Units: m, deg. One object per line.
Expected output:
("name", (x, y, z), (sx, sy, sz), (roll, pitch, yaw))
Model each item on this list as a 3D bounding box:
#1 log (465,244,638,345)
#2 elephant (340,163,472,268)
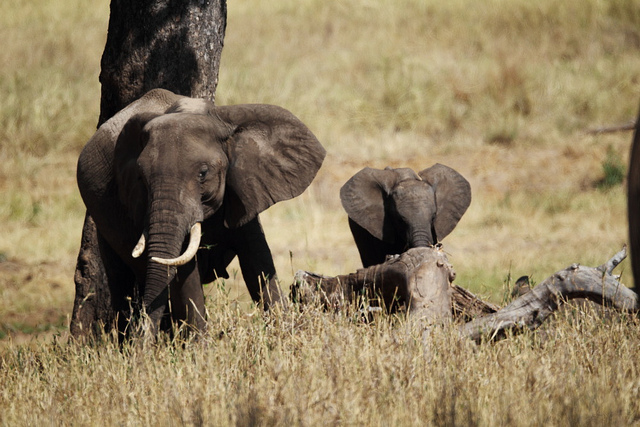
("log", (3.576, 1.216, 16.134), (2.116, 1.297, 0.266), (-1, 11, -6))
("elephant", (1.394, 0.327, 19.261), (2.204, 2.500, 2.831), (-2, 6, -10))
